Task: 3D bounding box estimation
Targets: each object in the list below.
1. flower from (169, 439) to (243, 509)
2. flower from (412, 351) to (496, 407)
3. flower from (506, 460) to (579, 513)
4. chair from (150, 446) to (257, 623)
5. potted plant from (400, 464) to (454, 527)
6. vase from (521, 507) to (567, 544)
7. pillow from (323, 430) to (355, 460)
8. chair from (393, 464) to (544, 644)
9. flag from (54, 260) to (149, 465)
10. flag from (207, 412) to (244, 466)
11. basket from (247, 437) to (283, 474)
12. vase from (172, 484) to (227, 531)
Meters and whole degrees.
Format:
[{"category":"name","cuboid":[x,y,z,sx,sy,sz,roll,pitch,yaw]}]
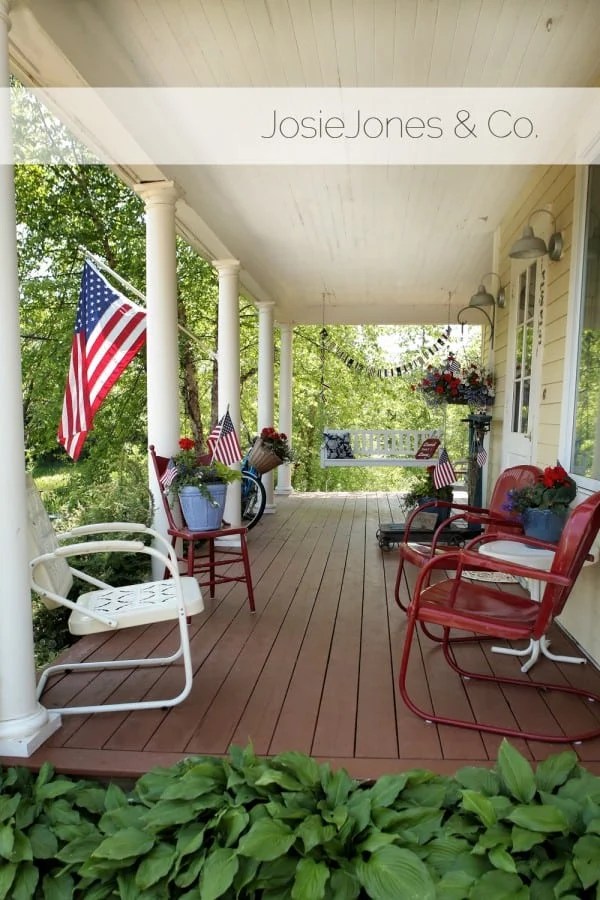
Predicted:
[{"category":"flower","cuboid":[-0.577,0.095,3.434,0.356,0.268,0.326,31,28,9]},{"category":"flower","cuboid":[1.381,-0.572,5.368,0.634,0.372,0.342,2,6,16]},{"category":"flower","cuboid":[1.103,0.172,2.790,0.226,0.241,0.253,4,4,4]},{"category":"chair","cuboid":[-0.553,0.414,3.702,0.513,1.104,0.533,-3,6,-30]},{"category":"potted plant","cuboid":[1.107,0.406,5.082,0.445,0.701,0.574,-3,6,1]},{"category":"vase","cuboid":[1.090,0.335,2.736,0.177,0.162,0.188,2,-7,0]},{"category":"pillow","cuboid":[0.569,-0.072,9.173,0.463,0.409,0.608,0,6,4]},{"category":"chair","cuboid":[0.948,0.548,3.667,0.925,1.349,0.779,2,-3,-6]},{"category":"flag","cuboid":[-1.068,-0.507,3.193,0.397,1.089,0.767,0,6,1]},{"category":"flag","cuboid":[-0.446,-0.088,3.548,0.191,0.435,0.068,-8,-31,7]},{"category":"basket","cuboid":[-0.371,0.101,6.086,0.330,0.247,0.336,42,-4,19]},{"category":"vase","cuboid":[-0.537,0.324,3.424,0.225,0.206,0.249,-1,-4,6]}]
